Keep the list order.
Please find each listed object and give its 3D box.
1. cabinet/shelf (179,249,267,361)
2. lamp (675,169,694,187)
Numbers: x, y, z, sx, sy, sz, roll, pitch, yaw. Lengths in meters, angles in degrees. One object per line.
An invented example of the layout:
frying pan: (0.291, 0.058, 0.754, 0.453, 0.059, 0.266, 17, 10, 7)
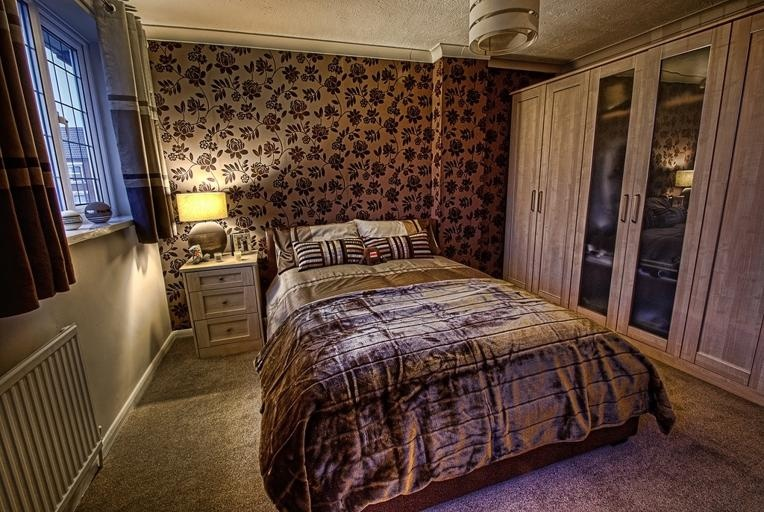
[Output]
cabinet/shelf: (-1.536, 0.597, 4.467, 0.617, 0.871, 0.527, -7, -22, -23)
lamp: (2.496, -0.636, 3.812, 0.086, 0.142, 0.147, -3, 7, -20)
